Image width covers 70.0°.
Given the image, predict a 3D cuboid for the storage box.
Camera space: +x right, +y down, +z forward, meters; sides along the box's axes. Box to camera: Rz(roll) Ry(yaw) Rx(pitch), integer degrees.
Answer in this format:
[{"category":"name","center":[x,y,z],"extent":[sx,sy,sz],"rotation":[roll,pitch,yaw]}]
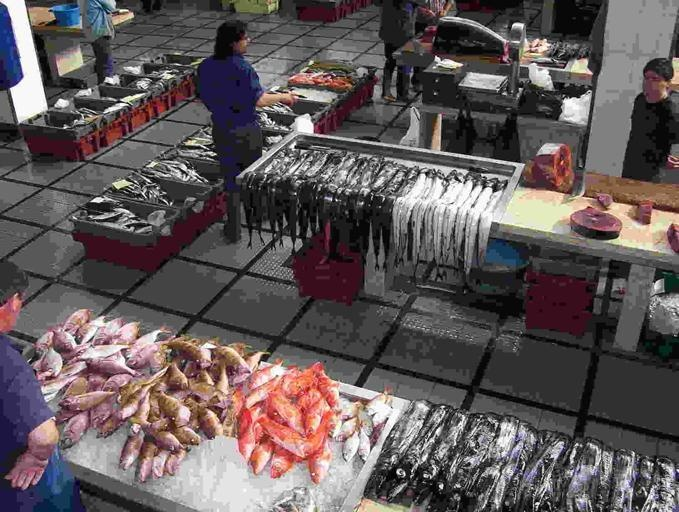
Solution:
[{"category":"storage box","center":[-1.361,-1.521,7.048],"extent":[2.856,0.833,4.921],"rotation":[20,44,27]}]

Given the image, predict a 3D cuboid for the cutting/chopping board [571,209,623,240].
[{"category":"cutting/chopping board","center":[1.968,-0.238,3.752],"extent":[0.354,0.102,0.322],"rotation":[29,44,36]}]
